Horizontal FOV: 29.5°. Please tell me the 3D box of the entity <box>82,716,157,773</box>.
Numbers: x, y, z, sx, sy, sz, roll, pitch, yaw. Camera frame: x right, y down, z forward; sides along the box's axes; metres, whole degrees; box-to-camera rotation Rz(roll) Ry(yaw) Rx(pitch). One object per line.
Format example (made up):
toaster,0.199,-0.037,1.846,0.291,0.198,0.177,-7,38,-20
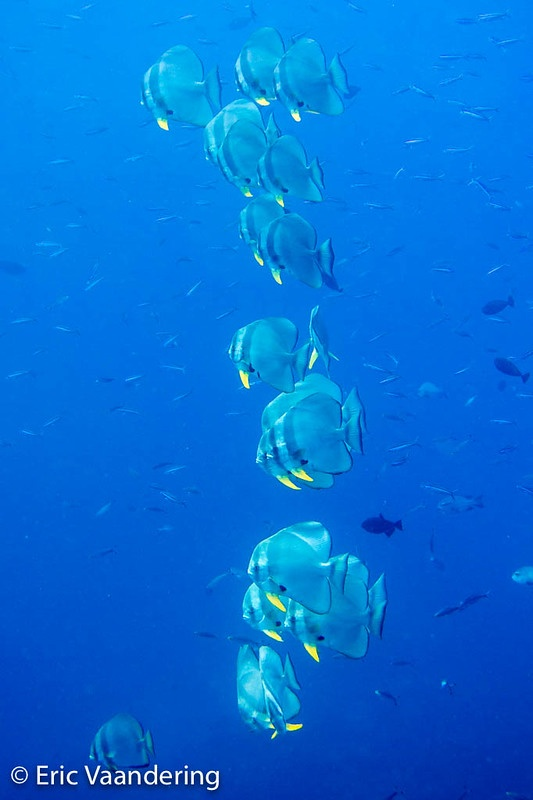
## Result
entity,-1.003,2.400,7.064,0.405,0.447,0.311,8,58,-7
